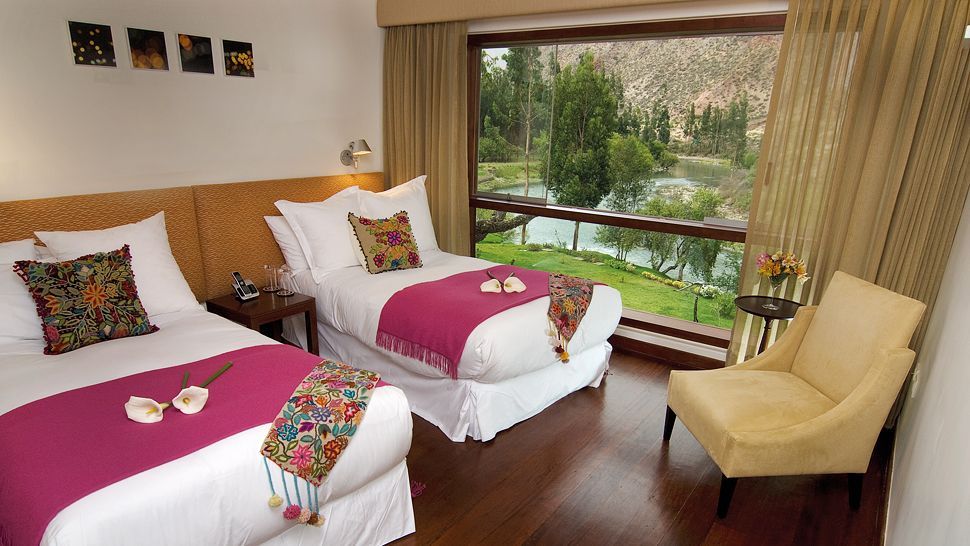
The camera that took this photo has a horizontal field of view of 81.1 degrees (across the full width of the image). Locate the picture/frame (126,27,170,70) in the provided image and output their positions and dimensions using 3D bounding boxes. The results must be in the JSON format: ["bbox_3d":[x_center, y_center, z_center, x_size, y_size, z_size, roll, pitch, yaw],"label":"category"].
[{"bbox_3d":[-2.994,-1.980,5.008,0.058,0.417,0.401,11,16,40],"label":"picture/frame"}]

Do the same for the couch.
[{"bbox_3d":[2.538,0.704,5.084,2.112,2.224,1.585,-1,18,-11],"label":"couch"}]

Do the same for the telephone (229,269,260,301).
[{"bbox_3d":[-2.237,0.132,5.268,0.316,0.076,0.190,46,35,20],"label":"telephone"}]

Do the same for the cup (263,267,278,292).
[{"bbox_3d":[-2.076,0.062,5.491,0.178,0.187,0.175,3,22,-1],"label":"cup"}]

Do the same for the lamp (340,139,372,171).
[{"bbox_3d":[-1.464,-1.357,6.477,0.376,0.364,0.313,17,25,31],"label":"lamp"}]

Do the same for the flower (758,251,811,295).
[{"bbox_3d":[2.555,0.076,4.939,0.358,0.357,0.325,10,12,32],"label":"flower"}]

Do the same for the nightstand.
[{"bbox_3d":[-2.040,0.292,5.359,0.731,0.726,0.724,11,19,34],"label":"nightstand"}]

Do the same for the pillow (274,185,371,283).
[{"bbox_3d":[-1.627,-0.358,5.629,0.845,0.837,0.236,-21,-7,-45],"label":"pillow"}]

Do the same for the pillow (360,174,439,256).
[{"bbox_3d":[-0.917,-0.541,6.097,0.258,0.755,0.823,-24,-6,40],"label":"pillow"}]

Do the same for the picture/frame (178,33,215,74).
[{"bbox_3d":[-2.690,-2.026,5.246,0.042,0.403,0.406,8,12,40],"label":"picture/frame"}]

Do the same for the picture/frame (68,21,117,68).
[{"bbox_3d":[-3.322,-1.922,4.770,0.048,0.438,0.410,8,15,44],"label":"picture/frame"}]
